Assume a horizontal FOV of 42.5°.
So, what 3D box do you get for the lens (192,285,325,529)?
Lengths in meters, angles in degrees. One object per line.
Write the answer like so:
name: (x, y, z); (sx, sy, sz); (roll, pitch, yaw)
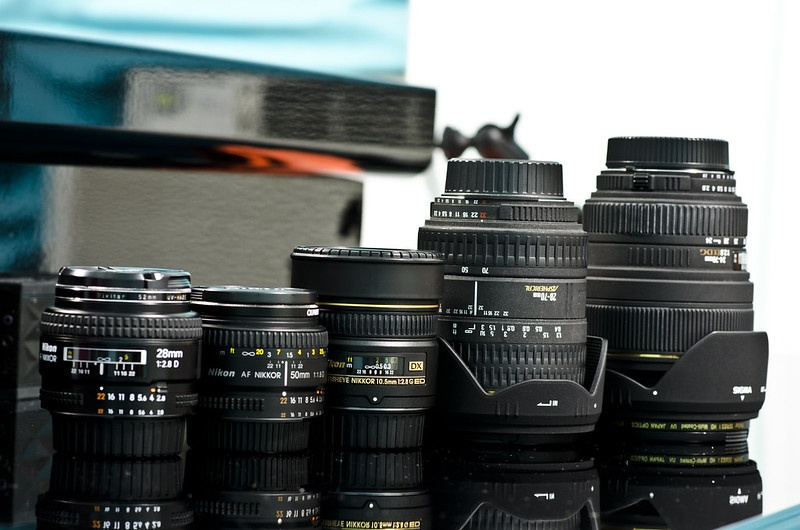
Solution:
lens: (-0.138, 0.128, 0.994); (0.142, 0.218, 0.212); (4, -7, -11)
